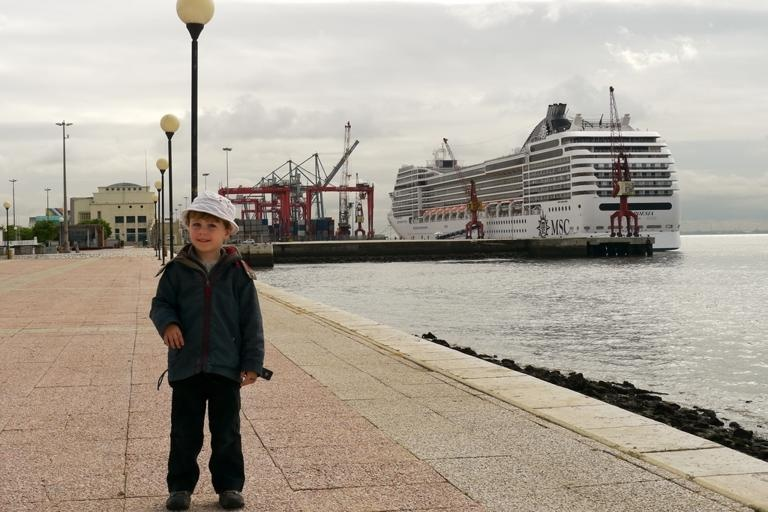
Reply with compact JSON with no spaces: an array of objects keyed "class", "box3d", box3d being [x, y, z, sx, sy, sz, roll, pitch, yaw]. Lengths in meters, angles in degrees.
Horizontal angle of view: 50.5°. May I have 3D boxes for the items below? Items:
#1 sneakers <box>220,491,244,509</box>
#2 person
[{"class":"sneakers","box3d":[-1.364,2.205,7.312,0.233,0.151,0.111,0,7,-4]},{"class":"person","box3d":[-1.567,0.859,7.334,0.987,2.824,0.577,0,7,-13]}]
